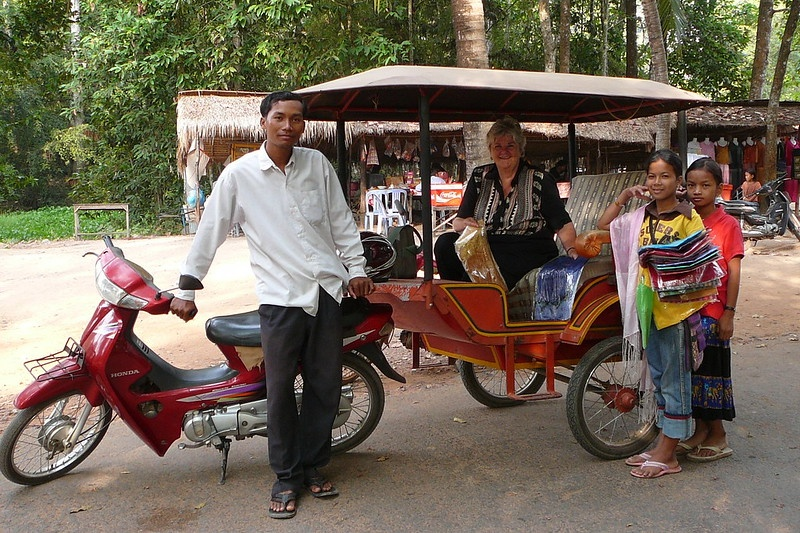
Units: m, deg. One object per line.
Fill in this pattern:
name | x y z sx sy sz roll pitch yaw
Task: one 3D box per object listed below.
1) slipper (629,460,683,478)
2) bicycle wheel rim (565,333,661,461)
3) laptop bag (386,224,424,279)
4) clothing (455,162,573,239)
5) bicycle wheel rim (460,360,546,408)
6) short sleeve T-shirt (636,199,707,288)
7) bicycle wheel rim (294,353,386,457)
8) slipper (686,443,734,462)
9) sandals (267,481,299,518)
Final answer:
slipper | 2.131 1.676 5.624 0.320 0.075 0.165 0 1 -4
bicycle wheel rim | 1.874 1.139 5.959 1.072 1.043 0.305 5 2 -26
laptop bag | -0.014 -0.155 6.681 0.386 0.522 0.425 -3 7 -29
clothing | 1.124 -0.690 6.950 1.212 0.807 0.671 1 -2 20
bicycle wheel rim | 1.037 1.192 6.821 0.606 0.588 0.117 2 -5 -12
short sleeve T-shirt | 2.188 -0.192 5.544 0.549 0.251 0.684 0 48 9
bicycle wheel rim | -0.536 1.183 5.813 0.973 0.990 0.227 3 -3 -8
slipper | 2.622 1.597 5.808 0.304 0.077 0.167 -1 1 -19
sandals | -0.922 1.836 5.367 0.224 0.231 0.210 -4 14 -5
